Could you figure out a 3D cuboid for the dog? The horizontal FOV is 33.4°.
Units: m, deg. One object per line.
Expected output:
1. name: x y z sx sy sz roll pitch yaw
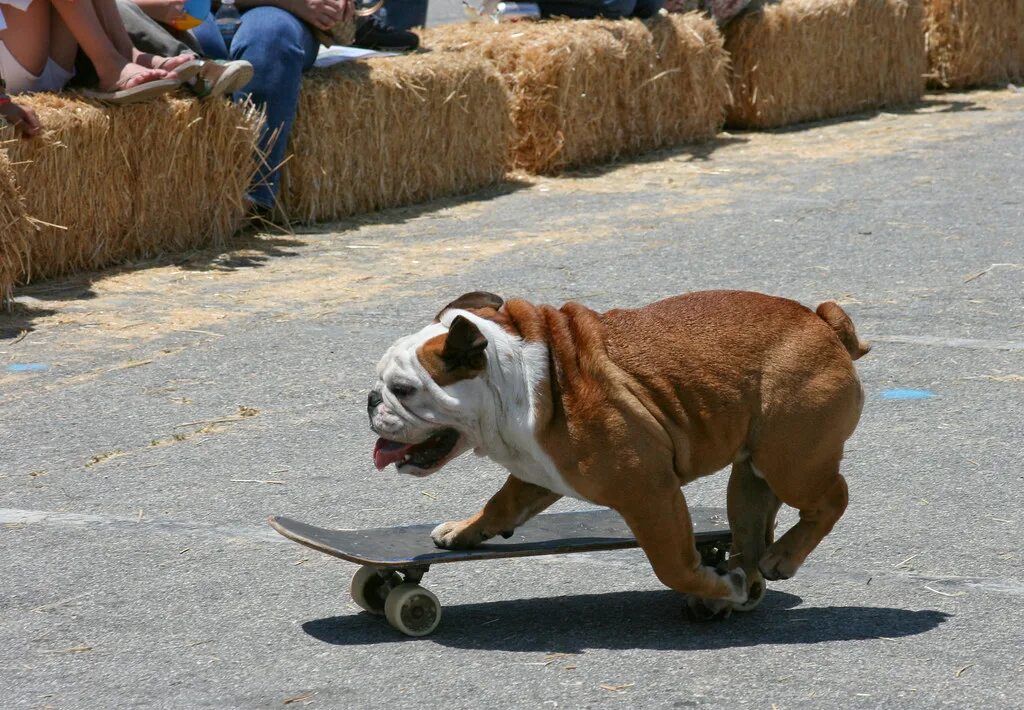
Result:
1. dog: 0.445 0.351 6.610 2.139 0.865 0.799 -1 7 -18
